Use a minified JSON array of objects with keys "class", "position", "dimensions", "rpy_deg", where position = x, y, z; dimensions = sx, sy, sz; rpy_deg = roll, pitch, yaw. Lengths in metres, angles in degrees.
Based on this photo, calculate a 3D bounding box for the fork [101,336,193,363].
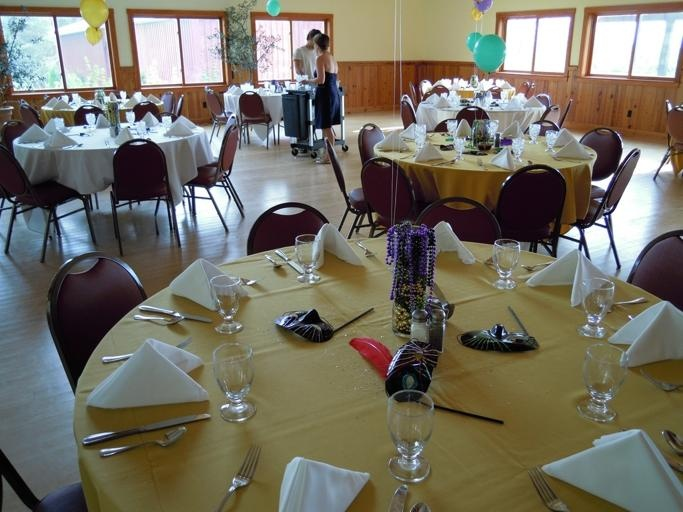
[{"class":"fork","position":[-0.619,0.305,1.557],"dimensions":[0.231,0.033,0.030],"rpy_deg":[-12,6,-18]}]

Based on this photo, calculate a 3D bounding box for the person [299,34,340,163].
[{"class":"person","position":[-0.258,-2.491,7.295],"dimensions":[0.419,1.649,0.914],"rpy_deg":[1,16,5]}]

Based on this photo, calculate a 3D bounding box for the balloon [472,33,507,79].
[{"class":"balloon","position":[1.662,-2.304,5.478],"dimensions":[0.348,0.481,0.386],"rpy_deg":[1,5,8]}]

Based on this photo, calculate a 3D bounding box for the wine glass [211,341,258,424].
[{"class":"wine glass","position":[-0.312,0.356,1.425],"dimensions":[0.117,0.174,0.206],"rpy_deg":[-5,18,-16]}]

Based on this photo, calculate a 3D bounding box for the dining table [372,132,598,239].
[{"class":"dining table","position":[0.950,-0.700,3.925],"dimensions":[1.024,0.463,1.098],"rpy_deg":[-2,21,-4]}]

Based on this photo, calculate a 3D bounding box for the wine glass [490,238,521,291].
[{"class":"wine glass","position":[0.672,0.045,1.997],"dimensions":[0.116,0.225,0.118],"rpy_deg":[-7,22,-7]}]

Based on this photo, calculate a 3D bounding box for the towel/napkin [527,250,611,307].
[{"class":"towel/napkin","position":[0.879,0.071,1.907],"dimensions":[0.161,0.122,0.251],"rpy_deg":[17,10,17]}]

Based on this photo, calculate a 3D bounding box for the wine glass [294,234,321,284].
[{"class":"wine glass","position":[-0.141,0.018,2.051],"dimensions":[0.108,0.191,0.100],"rpy_deg":[-21,35,-32]}]

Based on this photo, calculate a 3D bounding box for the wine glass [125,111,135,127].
[{"class":"wine glass","position":[-2.454,-1.608,5.685],"dimensions":[0.073,0.157,0.358],"rpy_deg":[-8,19,-25]}]

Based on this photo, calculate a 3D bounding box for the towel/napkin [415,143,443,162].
[{"class":"towel/napkin","position":[0.704,-0.843,3.962],"dimensions":[0.191,0.113,0.214],"rpy_deg":[0,22,9]}]

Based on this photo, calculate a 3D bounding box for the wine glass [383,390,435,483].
[{"class":"wine glass","position":[0.172,0.467,1.229],"dimensions":[0.103,0.196,0.116],"rpy_deg":[17,31,32]}]

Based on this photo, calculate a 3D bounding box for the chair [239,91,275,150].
[{"class":"chair","position":[-1.513,-2.430,8.626],"dimensions":[0.571,0.926,0.946],"rpy_deg":[-4,17,-12]}]

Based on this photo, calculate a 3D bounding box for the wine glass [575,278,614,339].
[{"class":"wine glass","position":[0.886,0.190,1.700],"dimensions":[0.102,0.207,0.123],"rpy_deg":[-12,24,-20]}]

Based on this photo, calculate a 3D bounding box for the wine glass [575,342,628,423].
[{"class":"wine glass","position":[0.745,0.353,1.392],"dimensions":[0.102,0.186,0.168],"rpy_deg":[10,19,31]}]

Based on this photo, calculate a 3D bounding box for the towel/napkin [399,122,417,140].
[{"class":"towel/napkin","position":[0.668,-1.245,4.889],"dimensions":[0.150,0.205,0.194],"rpy_deg":[7,17,6]}]

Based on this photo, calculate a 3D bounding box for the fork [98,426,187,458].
[{"class":"fork","position":[-0.530,0.505,1.301],"dimensions":[0.145,0.030,0.031],"rpy_deg":[-6,19,-22]}]

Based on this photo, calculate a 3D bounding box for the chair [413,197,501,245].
[{"class":"chair","position":[0.671,-0.222,2.729],"dimensions":[0.308,0.384,0.339],"rpy_deg":[6,13,11]}]

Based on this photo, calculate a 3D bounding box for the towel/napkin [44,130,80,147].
[{"class":"towel/napkin","position":[-2.559,-1.047,4.445],"dimensions":[0.207,0.106,0.178],"rpy_deg":[-9,26,-25]}]

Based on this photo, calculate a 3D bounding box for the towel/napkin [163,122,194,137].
[{"class":"towel/napkin","position":[-1.635,-1.267,4.895],"dimensions":[0.162,0.074,0.181],"rpy_deg":[-15,30,-30]}]

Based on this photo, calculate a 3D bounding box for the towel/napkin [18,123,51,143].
[{"class":"towel/napkin","position":[-2.941,-1.164,4.662],"dimensions":[0.218,0.095,0.183],"rpy_deg":[0,22,13]}]

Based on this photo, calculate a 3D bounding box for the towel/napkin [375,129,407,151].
[{"class":"towel/napkin","position":[0.428,-1.056,4.425],"dimensions":[0.310,0.179,0.201],"rpy_deg":[-7,-8,43]}]

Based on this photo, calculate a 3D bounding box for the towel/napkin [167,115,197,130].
[{"class":"towel/napkin","position":[-1.743,-1.436,5.223],"dimensions":[0.304,0.143,0.376],"rpy_deg":[0,17,6]}]
